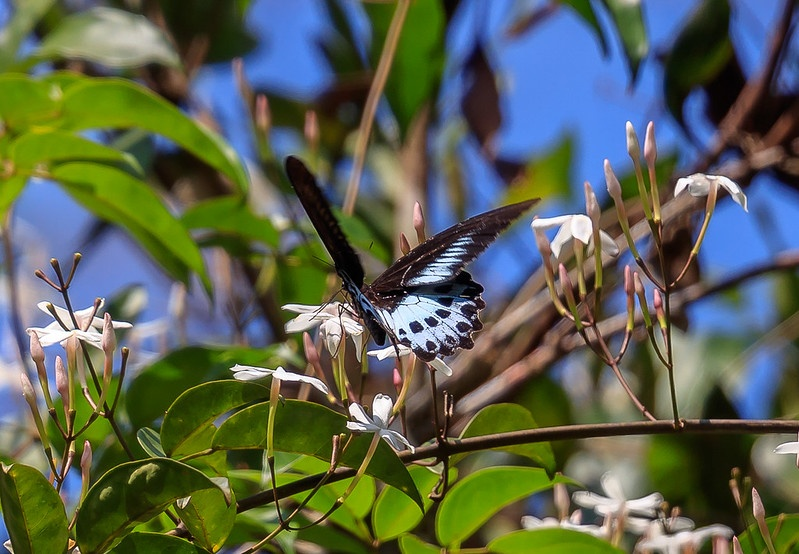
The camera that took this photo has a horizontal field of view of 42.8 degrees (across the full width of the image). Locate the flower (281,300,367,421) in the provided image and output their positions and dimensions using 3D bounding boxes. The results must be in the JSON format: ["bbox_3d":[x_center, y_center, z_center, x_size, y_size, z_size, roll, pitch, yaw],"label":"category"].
[{"bbox_3d":[-0.288,0.287,3.843,0.325,0.166,0.330,35,10,9],"label":"flower"}]

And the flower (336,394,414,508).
[{"bbox_3d":[-0.085,0.530,3.441,0.131,0.289,0.268,46,-4,2],"label":"flower"}]

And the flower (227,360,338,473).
[{"bbox_3d":[-0.433,0.469,3.492,0.310,0.366,0.355,15,6,13],"label":"flower"}]
